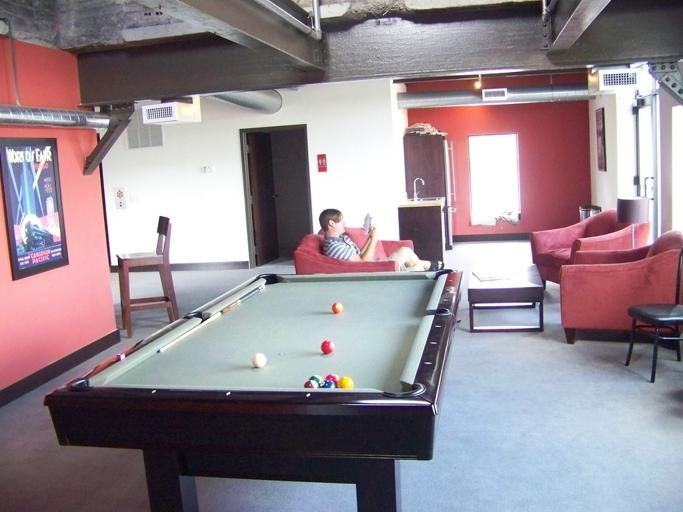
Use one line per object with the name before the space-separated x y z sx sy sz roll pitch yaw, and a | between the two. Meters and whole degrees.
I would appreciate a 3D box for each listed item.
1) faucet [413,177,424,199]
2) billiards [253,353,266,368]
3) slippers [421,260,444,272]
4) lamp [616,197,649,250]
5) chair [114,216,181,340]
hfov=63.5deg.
faucet | 1.486 -1.317 10.657 0.227 0.410 0.107 -3 11 6
billiards | -0.418 0.533 2.889 0.072 0.067 0.081 -6 23 7
slippers | 1.177 0.129 7.235 0.334 0.093 0.127 -3 -10 7
lamp | 3.247 -0.400 6.184 0.283 0.513 0.269 -2 6 8
chair | -2.362 0.269 6.840 0.843 1.611 0.843 1 10 -12
